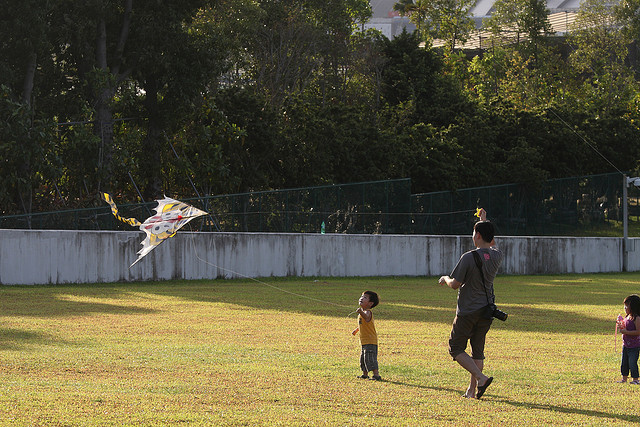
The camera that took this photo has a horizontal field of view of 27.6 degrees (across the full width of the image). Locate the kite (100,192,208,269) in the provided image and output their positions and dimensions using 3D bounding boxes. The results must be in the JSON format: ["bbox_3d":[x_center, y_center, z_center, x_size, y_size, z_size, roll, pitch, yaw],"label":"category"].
[{"bbox_3d":[-7.742,0.303,58.241,4.584,1.118,3.121,-13,-40,0],"label":"kite"}]
